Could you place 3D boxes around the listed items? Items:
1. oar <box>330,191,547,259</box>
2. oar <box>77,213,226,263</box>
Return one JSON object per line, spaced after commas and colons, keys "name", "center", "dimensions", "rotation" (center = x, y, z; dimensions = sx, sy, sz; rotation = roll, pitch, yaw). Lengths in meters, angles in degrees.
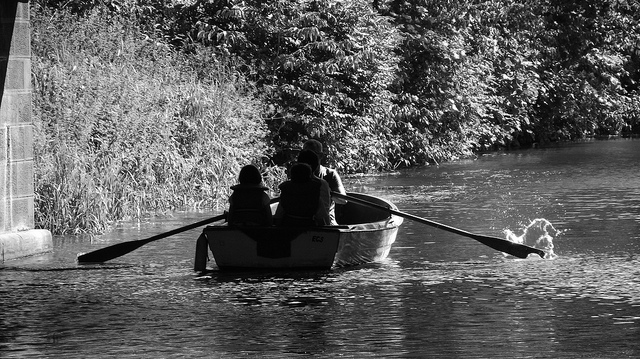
{"name": "oar", "center": [2.456, 0.969, 21.619], "dimensions": [3.315, 0.139, 0.433], "rotation": [17, 1, 9]}
{"name": "oar", "center": [-3.377, 1.184, 20.754], "dimensions": [2.611, 0.240, 0.153], "rotation": [-17, 21, -13]}
